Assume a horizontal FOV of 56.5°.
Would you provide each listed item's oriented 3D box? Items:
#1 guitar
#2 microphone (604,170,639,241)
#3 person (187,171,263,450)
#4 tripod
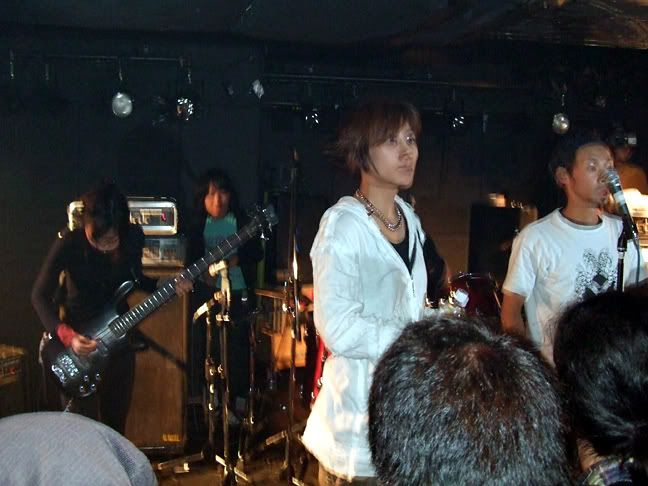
[{"bbox_3d":[-1.217,0.382,4.166,1.415,0.433,0.154,-42,1,-11],"label":"guitar"},{"bbox_3d":[1.326,-0.177,2.678,0.116,0.330,0.297,1,0,27],"label":"microphone"},{"bbox_3d":[-0.776,0.383,4.524,0.643,1.811,0.169,11,-11,-40],"label":"person"},{"bbox_3d":[-0.539,1.165,4.334,0.966,1.063,1.100,20,-43,-12],"label":"tripod"}]
